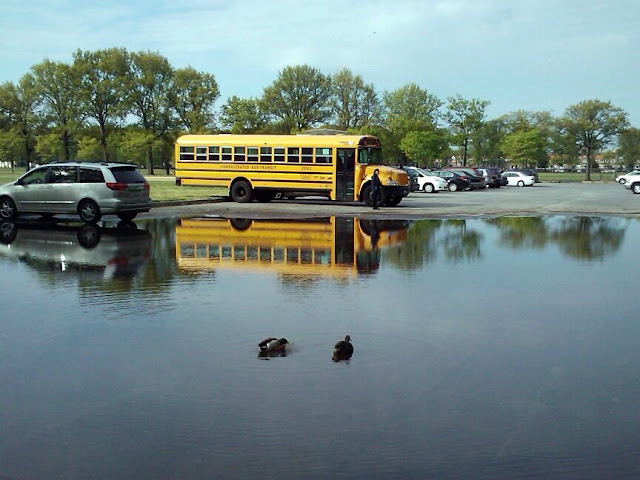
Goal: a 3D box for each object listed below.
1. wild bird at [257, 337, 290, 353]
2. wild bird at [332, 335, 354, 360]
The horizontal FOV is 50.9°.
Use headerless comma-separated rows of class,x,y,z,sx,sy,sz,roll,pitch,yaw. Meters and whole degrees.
wild bird,-0.517,1.251,8.039,0.433,0.180,0.144,-10,0,-37
wild bird,0.282,1.260,7.845,0.131,0.153,0.366,1,13,12
